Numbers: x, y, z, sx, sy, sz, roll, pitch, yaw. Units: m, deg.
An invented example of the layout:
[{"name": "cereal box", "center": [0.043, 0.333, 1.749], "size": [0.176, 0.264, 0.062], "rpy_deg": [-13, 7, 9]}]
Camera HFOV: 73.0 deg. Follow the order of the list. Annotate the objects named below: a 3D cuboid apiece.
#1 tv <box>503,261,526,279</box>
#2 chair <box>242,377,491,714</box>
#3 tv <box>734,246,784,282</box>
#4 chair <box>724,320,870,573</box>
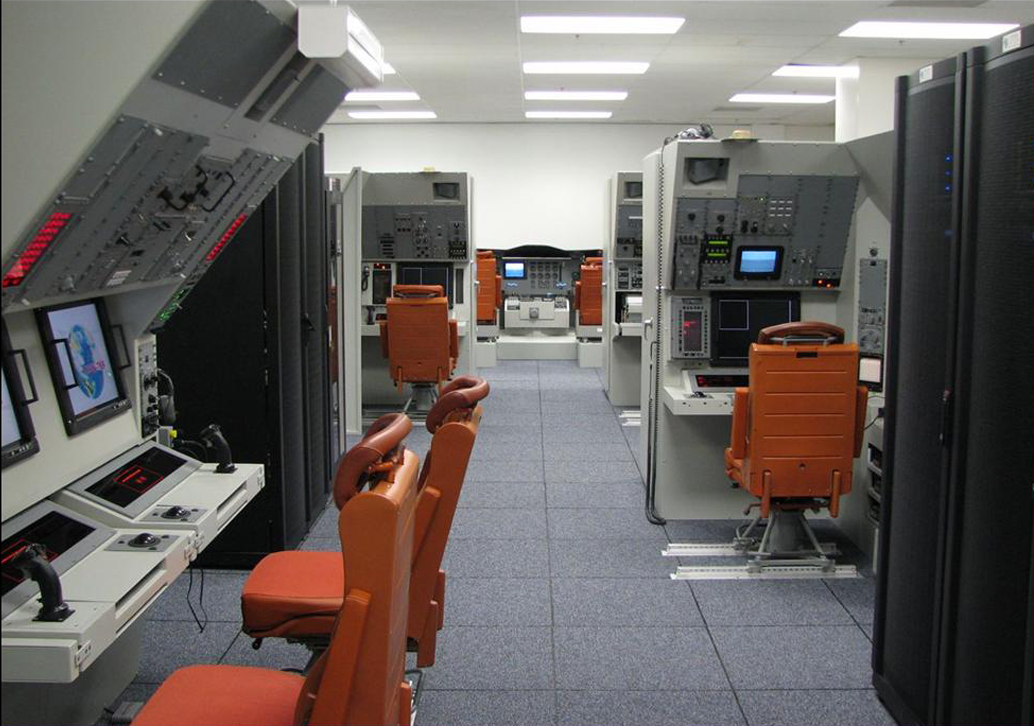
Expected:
[{"name": "tv", "center": [-0.015, -1.473, 11.007], "size": [0.490, 0.376, 0.241], "rpy_deg": [1, 8, 0]}, {"name": "chair", "center": [-0.634, 0.579, 2.756], "size": [0.923, 0.959, 0.660], "rpy_deg": [1, 3, -14]}, {"name": "tv", "center": [1.575, -0.661, 4.529], "size": [0.366, 0.243, 0.185], "rpy_deg": [0, 7, 5]}, {"name": "chair", "center": [1.528, 0.462, 3.900], "size": [0.715, 1.432, 0.520], "rpy_deg": [-1, 12, -8]}]
